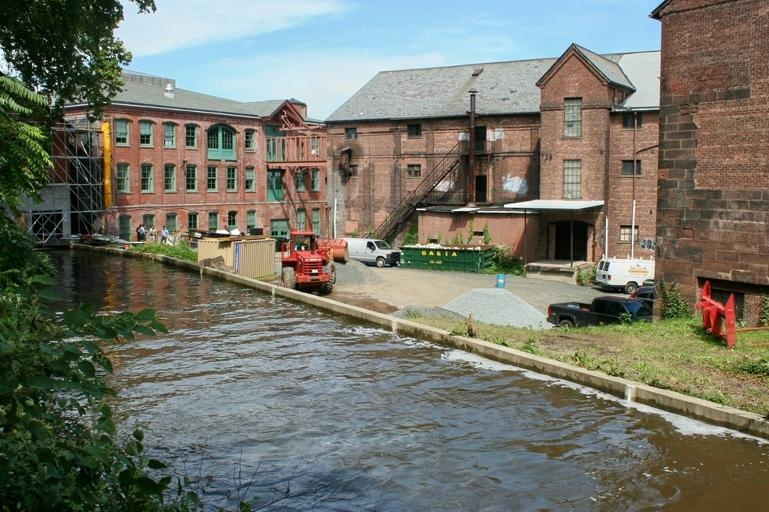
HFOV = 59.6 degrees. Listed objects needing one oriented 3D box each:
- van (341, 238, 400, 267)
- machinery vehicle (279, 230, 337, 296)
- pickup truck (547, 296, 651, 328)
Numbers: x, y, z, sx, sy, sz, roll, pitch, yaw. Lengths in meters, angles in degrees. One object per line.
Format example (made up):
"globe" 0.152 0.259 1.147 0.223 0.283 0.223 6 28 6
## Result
"van" -0.826 -0.267 48.963 3.721 1.335 2.037 1 2 31
"machinery vehicle" -3.806 0.322 31.933 2.047 2.009 3.369 0 0 -25
"pickup truck" 7.813 2.106 25.140 3.191 1.025 1.472 -3 0 41
